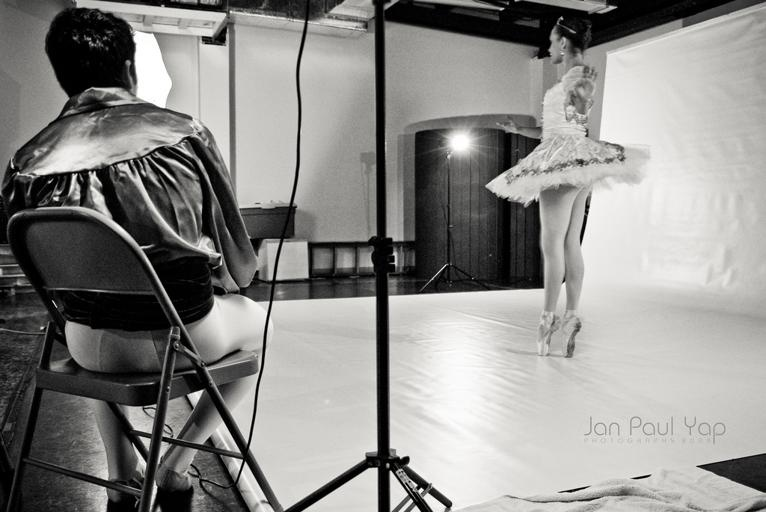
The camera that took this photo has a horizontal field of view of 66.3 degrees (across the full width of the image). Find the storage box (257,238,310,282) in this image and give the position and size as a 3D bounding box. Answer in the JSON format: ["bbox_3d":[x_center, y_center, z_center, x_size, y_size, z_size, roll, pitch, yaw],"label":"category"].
[{"bbox_3d":[-1.294,0.074,7.807,0.731,0.699,0.703,2,5,-8],"label":"storage box"}]

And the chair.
[{"bbox_3d":[-0.737,0.360,1.754,0.782,1.004,0.421,2,7,4],"label":"chair"}]

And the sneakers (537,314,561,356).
[{"bbox_3d":[1.012,0.451,3.613,0.120,0.253,0.345,3,6,17],"label":"sneakers"}]

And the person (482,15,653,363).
[{"bbox_3d":[1.123,-0.299,3.731,0.715,1.723,0.639,-4,8,-37],"label":"person"}]
